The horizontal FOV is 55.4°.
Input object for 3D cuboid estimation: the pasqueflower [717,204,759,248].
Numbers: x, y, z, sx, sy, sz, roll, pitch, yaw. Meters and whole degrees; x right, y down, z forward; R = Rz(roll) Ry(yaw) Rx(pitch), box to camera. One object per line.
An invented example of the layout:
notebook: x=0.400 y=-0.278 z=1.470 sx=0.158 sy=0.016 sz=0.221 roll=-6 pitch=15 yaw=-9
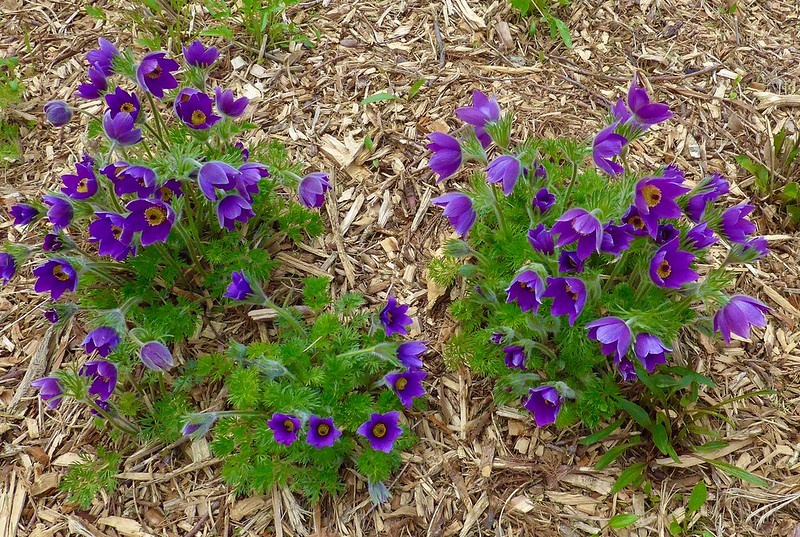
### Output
pasqueflower: x=2.003 y=-0.287 z=4.565 sx=0.131 sy=0.223 sz=0.238 roll=12 pitch=60 yaw=30

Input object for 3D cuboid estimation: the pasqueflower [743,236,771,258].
pasqueflower: x=2.082 y=-0.113 z=4.484 sx=0.134 sy=0.114 sz=0.167 roll=2 pitch=46 yaw=15

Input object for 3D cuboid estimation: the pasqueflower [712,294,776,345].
pasqueflower: x=1.948 y=0.318 z=4.390 sx=0.134 sy=0.276 sz=0.292 roll=35 pitch=60 yaw=-15

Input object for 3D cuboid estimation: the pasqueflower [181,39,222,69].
pasqueflower: x=-1.291 y=-1.372 z=4.876 sx=0.189 sy=0.110 sz=0.198 roll=-12 pitch=87 yaw=-17
